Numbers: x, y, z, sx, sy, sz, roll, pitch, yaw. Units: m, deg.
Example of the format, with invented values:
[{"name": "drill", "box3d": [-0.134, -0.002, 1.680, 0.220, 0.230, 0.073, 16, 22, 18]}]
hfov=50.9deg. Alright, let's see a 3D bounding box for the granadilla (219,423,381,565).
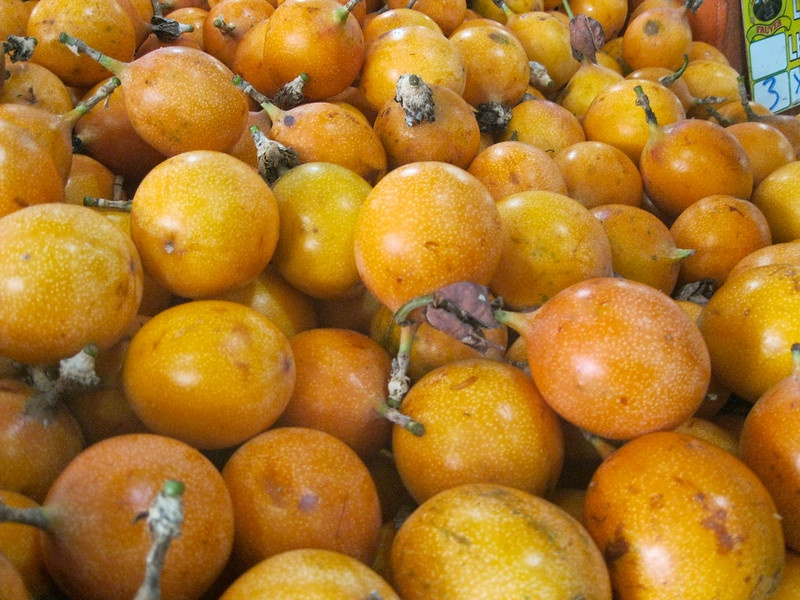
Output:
[{"name": "granadilla", "box3d": [-0.189, 0.395, 1.658, 0.237, 0.252, 0.261, -27, 58, 28]}]
